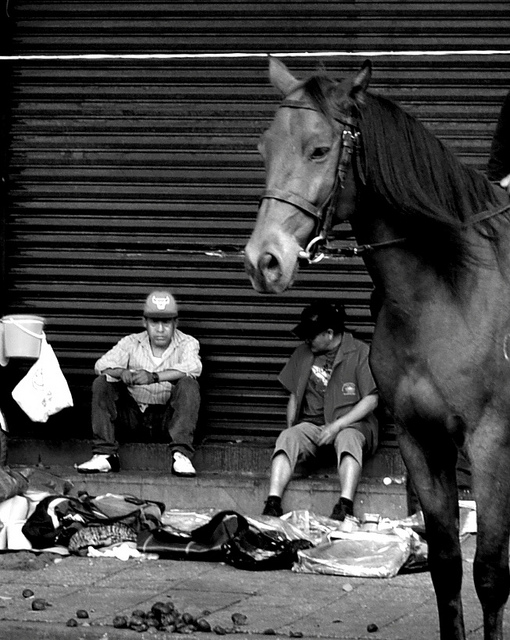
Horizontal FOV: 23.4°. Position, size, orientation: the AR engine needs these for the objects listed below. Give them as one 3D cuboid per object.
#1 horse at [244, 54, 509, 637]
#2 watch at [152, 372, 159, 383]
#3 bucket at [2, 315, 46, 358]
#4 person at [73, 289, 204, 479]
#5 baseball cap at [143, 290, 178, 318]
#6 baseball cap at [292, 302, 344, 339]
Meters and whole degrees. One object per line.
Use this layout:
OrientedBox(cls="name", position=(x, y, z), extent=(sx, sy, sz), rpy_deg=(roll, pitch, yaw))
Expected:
OrientedBox(cls="horse", position=(0.578, 0.145, 4.702), extent=(0.862, 2.209, 0.604), rpy_deg=(3, 12, 17))
OrientedBox(cls="watch", position=(-0.645, 0.377, 7.855), extent=(0.036, 0.059, 0.039), rpy_deg=(-1, 12, -5))
OrientedBox(cls="bucket", position=(-1.437, 0.112, 7.514), extent=(0.229, 0.236, 0.243), rpy_deg=(1, -3, 0))
OrientedBox(cls="person", position=(-0.753, 0.423, 7.876), extent=(0.792, 1.100, 0.769), rpy_deg=(-1, 12, -3))
OrientedBox(cls="baseball cap", position=(-0.631, -0.088, 8.019), extent=(0.209, 0.169, 0.209), rpy_deg=(-1, 13, -6))
OrientedBox(cls="baseball cap", position=(0.392, 0.000, 7.508), extent=(0.250, 0.151, 0.187), rpy_deg=(-16, 13, -17))
